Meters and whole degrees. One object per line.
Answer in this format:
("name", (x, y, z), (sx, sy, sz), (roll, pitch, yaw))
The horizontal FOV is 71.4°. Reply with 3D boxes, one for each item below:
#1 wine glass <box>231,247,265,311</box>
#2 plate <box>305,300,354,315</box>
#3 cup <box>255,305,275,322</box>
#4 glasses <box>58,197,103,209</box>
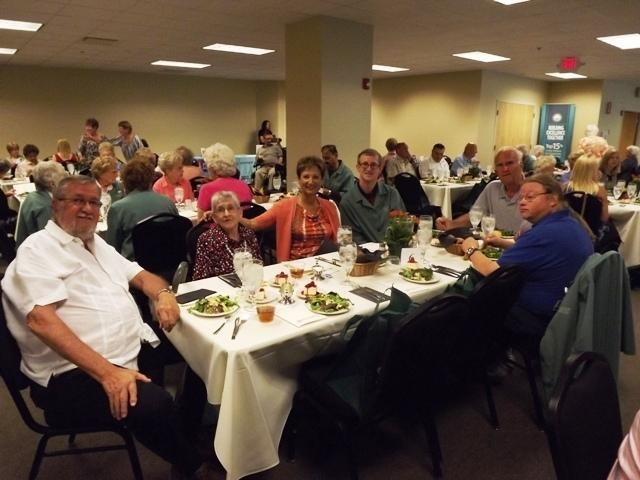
("wine glass", (-0.367, 0.187, 2.290), (0.133, 0.256, 0.403), (-2, 11, -9))
("plate", (0.048, 0.334, 2.150), (0.216, 0.038, 0.100), (0, 11, -1))
("cup", (-0.250, 0.337, 2.030), (0.072, 0.050, 0.074), (-1, 12, 0))
("glasses", (-1.163, -0.183, 2.171), (0.185, 0.056, 0.098), (-8, 13, -38))
